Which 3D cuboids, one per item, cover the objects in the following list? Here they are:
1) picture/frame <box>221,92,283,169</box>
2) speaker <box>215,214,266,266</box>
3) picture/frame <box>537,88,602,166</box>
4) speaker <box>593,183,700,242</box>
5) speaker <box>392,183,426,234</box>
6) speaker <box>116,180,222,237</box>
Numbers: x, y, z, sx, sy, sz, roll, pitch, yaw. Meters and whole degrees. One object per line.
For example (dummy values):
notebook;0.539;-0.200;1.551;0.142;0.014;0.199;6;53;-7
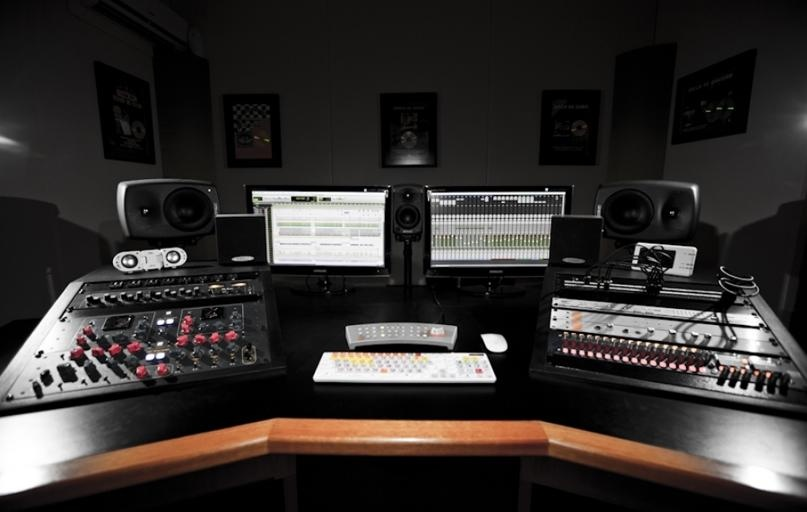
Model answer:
picture/frame;-0.937;-0.802;3.215;0.510;0.562;0.046;0;11;0
speaker;-0.784;-0.081;2.509;0.279;0.241;0.246;1;13;-6
picture/frame;1.030;-0.828;3.229;0.521;0.546;0.057;0;12;-1
speaker;1.237;-0.236;2.647;0.593;0.387;0.325;2;9;22
speaker;0.020;-0.257;2.895;0.193;0.286;0.109;2;2;-2
speaker;-1.203;-0.224;2.661;0.560;0.370;0.313;-4;9;-40
